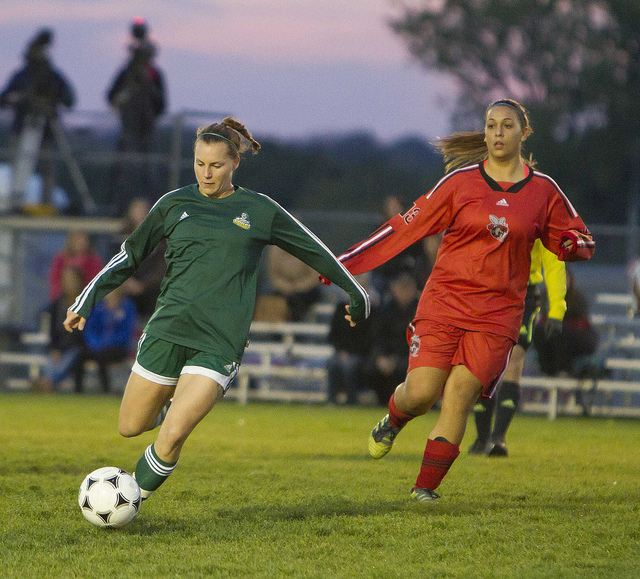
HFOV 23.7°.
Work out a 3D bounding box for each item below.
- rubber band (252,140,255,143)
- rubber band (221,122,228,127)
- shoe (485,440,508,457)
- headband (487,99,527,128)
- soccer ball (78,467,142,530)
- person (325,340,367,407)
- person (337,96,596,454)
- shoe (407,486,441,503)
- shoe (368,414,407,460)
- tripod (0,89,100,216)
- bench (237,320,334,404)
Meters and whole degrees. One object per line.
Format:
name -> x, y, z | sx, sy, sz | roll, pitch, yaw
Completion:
rubber band -> -0.475, -1.019, 10.554 | 0.013, 0.005, 0.018 | 22, 37, 38
rubber band -> -0.657, -1.105, 10.289 | 0.040, 0.030, 0.081 | 6, -1, -5
shoe -> 1.422, 1.268, 12.414 | 0.186, 0.131, 0.229 | 6, -1, 6
headband -> 1.326, -1.252, 10.858 | 0.291, 0.188, 0.120 | 6, -1, 2
soccer ball -> -1.369, 1.334, 10.012 | 0.378, 0.366, 0.372 | 0, 7, 0
person -> 0.258, 0.929, 17.168 | 0.658, 1.003, 0.712 | 0, -1, 0
person -> 1.079, -0.103, 10.801 | 1.561, 2.461, 0.544 | 6, 0, 1
shoe -> 0.715, 1.413, 10.620 | 0.198, 0.101, 0.181 | 6, -1, 9
shoe -> 0.488, 1.071, 11.237 | 0.190, 0.224, 0.548 | 20, 20, 12
tripod -> -3.217, -1.575, 17.884 | 1.012, 1.729, 1.261 | -2, -8, 21
bench -> -0.383, 0.704, 17.651 | 1.335, 0.668, 0.872 | -1, 2, -3
